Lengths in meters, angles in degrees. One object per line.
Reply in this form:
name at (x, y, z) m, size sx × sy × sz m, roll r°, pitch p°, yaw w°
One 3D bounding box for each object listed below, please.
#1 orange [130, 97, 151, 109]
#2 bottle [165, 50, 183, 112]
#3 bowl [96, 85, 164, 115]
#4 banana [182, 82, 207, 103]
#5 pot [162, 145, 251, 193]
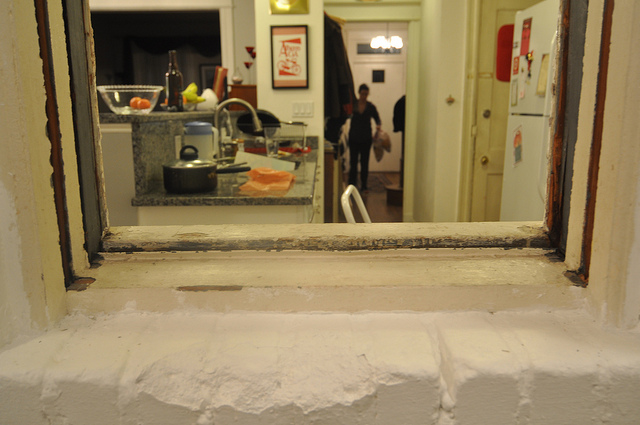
orange at (-0.835, -0.510, 2.440) m, size 0.088 × 0.053 × 0.061 m, roll -6°, pitch 14°, yaw -22°
bottle at (-0.743, -0.665, 2.647) m, size 0.093 × 0.307 × 0.316 m, roll -5°, pitch 14°, yaw -15°
bowl at (-0.874, -0.531, 2.455) m, size 0.271 × 0.129 × 0.313 m, roll -7°, pitch 14°, yaw -25°
banana at (-0.730, -0.677, 3.068) m, size 0.086 × 0.137 × 0.084 m, roll -44°, pitch 45°, yaw -18°
pot at (-0.484, -0.180, 2.152) m, size 0.156 × 0.122 × 0.286 m, roll 4°, pitch 5°, yaw 39°
